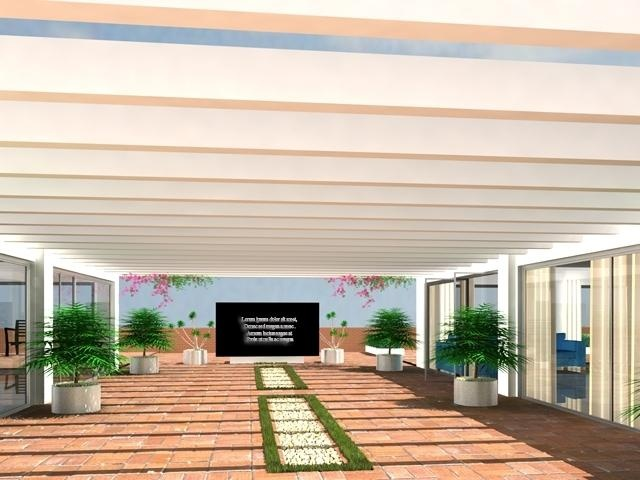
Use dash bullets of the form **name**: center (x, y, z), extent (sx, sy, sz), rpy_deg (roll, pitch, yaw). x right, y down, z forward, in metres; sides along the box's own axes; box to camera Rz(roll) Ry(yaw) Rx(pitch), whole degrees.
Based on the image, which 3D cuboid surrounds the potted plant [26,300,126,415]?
- **potted plant**: center (-5.088, 2.412, 8.770), extent (2.142, 1.844, 1.946), rpy_deg (4, -23, -35)

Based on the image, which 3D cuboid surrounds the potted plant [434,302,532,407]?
- **potted plant**: center (3.263, 2.350, 9.649), extent (2.745, 1.765, 2.222), rpy_deg (1, -2, 3)
